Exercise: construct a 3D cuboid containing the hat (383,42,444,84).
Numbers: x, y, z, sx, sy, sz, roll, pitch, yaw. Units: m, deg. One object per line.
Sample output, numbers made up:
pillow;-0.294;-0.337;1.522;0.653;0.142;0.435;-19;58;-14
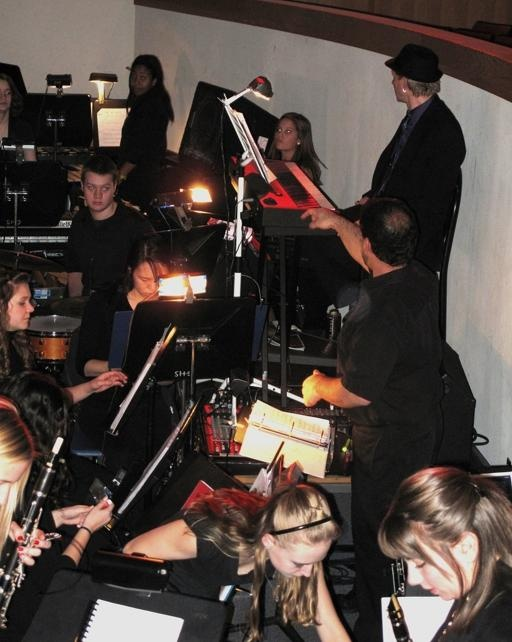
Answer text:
hat;0.801;-1.311;3.195;0.222;0.090;0.238;-27;63;-33
